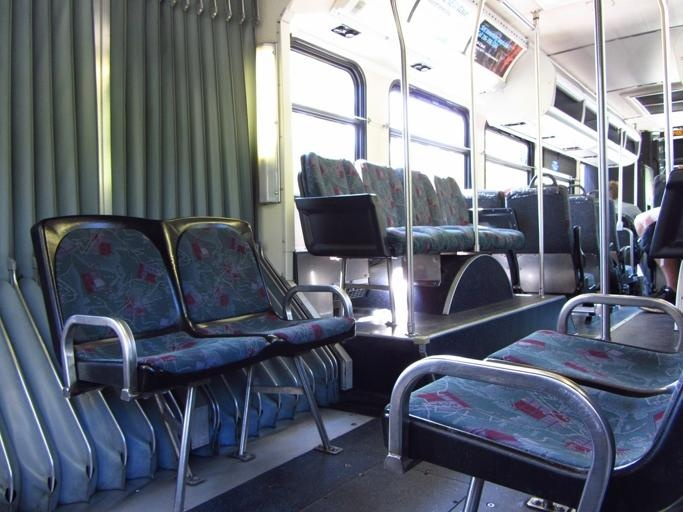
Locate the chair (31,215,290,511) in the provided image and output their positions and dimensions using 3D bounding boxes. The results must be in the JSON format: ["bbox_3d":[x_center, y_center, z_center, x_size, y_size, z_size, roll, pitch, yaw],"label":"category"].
[{"bbox_3d":[-0.801,0.379,2.233,0.669,1.085,0.749,-7,9,-44],"label":"chair"}]

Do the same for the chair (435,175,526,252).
[{"bbox_3d":[1.136,-0.324,4.593,0.659,0.818,0.791,-6,4,27],"label":"chair"}]

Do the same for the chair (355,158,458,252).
[{"bbox_3d":[0.457,-0.347,3.866,0.366,0.482,0.832,6,3,26],"label":"chair"}]
